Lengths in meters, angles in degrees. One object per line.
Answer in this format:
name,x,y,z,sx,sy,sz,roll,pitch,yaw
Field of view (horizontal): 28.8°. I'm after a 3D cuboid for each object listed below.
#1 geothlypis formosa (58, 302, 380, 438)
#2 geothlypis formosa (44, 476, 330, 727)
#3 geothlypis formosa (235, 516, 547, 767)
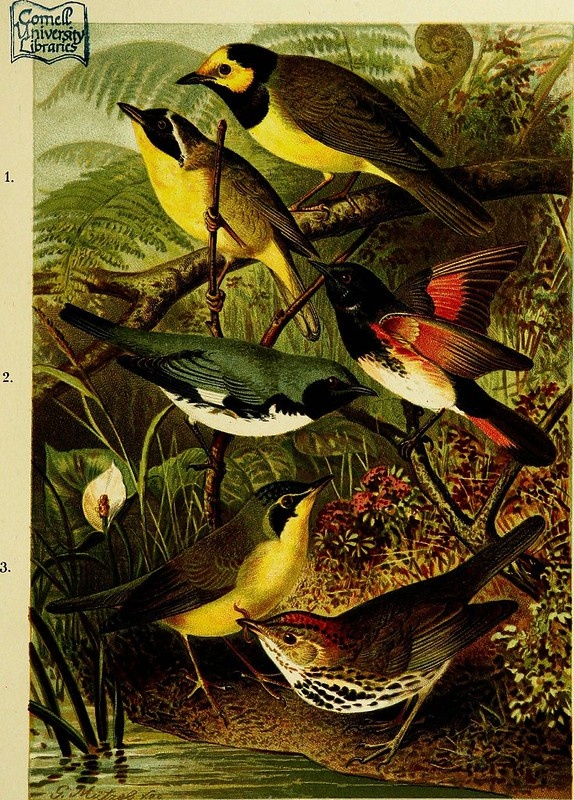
geothlypis formosa,-0.157,-0.049,2.319,0.690,0.187,0.188,17,25,13
geothlypis formosa,-0.212,0.394,2.315,0.668,0.393,0.216,-5,-9,15
geothlypis formosa,0.254,0.491,2.350,0.782,0.355,0.226,-20,24,-33
